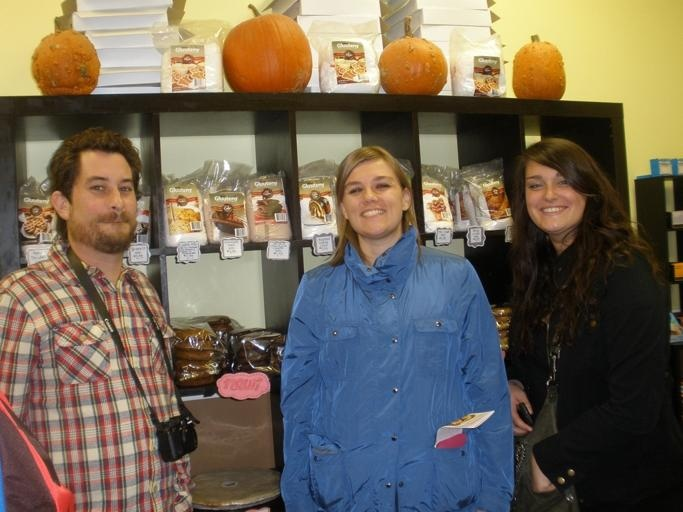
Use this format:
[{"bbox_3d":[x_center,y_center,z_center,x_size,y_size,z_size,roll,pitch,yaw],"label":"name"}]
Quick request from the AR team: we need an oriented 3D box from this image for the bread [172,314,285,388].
[{"bbox_3d":[-0.527,0.425,2.438,0.349,0.119,0.338,0,4,-25],"label":"bread"}]

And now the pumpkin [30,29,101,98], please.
[{"bbox_3d":[-1.117,-0.772,2.198,0.258,0.280,0.157,2,3,-15],"label":"pumpkin"}]

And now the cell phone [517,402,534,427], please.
[{"bbox_3d":[0.719,0.626,2.129,0.042,0.112,0.030,-3,-40,-23],"label":"cell phone"}]

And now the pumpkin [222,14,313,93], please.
[{"bbox_3d":[-0.326,-0.871,2.573,0.388,0.374,0.383,-6,8,-37],"label":"pumpkin"}]

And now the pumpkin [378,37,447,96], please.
[{"bbox_3d":[0.342,-0.877,2.662,0.299,0.289,0.291,-4,2,-43],"label":"pumpkin"}]

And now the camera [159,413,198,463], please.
[{"bbox_3d":[-0.572,0.636,1.901,0.065,0.133,0.152,-10,-8,23],"label":"camera"}]
